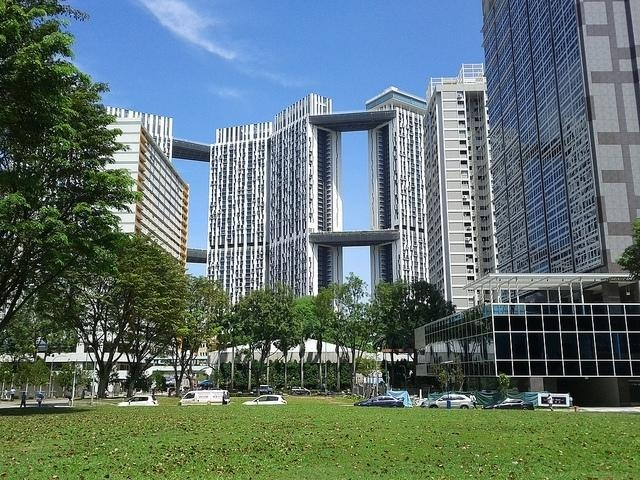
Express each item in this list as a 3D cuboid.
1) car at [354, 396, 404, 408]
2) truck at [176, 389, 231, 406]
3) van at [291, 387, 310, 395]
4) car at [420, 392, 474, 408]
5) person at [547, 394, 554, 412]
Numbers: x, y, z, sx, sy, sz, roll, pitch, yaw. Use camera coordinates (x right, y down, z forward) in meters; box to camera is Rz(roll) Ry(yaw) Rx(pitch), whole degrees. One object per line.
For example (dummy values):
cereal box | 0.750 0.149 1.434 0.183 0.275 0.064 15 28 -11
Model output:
car | 6.191 16.242 60.340 4.480 1.147 3.648 -5 -16 16
truck | -12.531 17.088 64.834 4.957 1.369 1.468 -1 -15 -1
van | -3.330 25.467 100.667 2.223 1.018 1.380 -3 -8 5
car | 12.817 15.780 58.329 3.539 1.268 1.755 -1 -15 15
person | 21.765 15.133 55.918 0.557 1.350 2.530 -7 -16 20
